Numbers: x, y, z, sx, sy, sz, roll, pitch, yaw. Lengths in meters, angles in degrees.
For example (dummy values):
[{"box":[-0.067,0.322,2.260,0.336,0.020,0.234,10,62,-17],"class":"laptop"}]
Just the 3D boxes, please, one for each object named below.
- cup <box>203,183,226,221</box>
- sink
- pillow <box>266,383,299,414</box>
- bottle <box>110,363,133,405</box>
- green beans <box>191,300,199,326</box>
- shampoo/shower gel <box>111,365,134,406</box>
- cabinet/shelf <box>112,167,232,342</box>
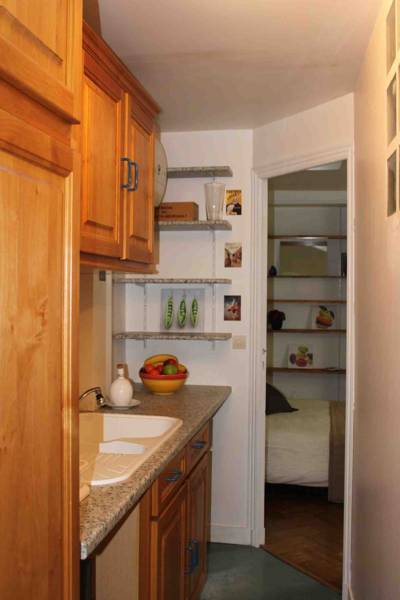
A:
[{"box":[0.076,-0.519,2.681,0.103,0.208,0.145,-2,0,-3],"class":"cup"},{"box":[-0.303,0.531,2.047,0.332,0.125,0.261,1,4,-4],"class":"sink"},{"box":[0.586,0.761,3.842,0.264,0.277,0.228,0,-37,-2],"class":"pillow"},{"box":[-0.353,0.385,2.253,0.098,0.177,0.101,0,6,0],"class":"bottle"},{"box":[-0.027,0.074,2.946,0.043,0.152,0.045,-1,-5,9],"class":"green beans"},{"box":[-0.350,0.383,2.252,0.102,0.181,0.102,-10,17,-36],"class":"shampoo/shower gel"},{"box":[-0.218,-0.448,2.891,0.475,0.645,0.163,17,-7,39],"class":"cabinet/shelf"}]
